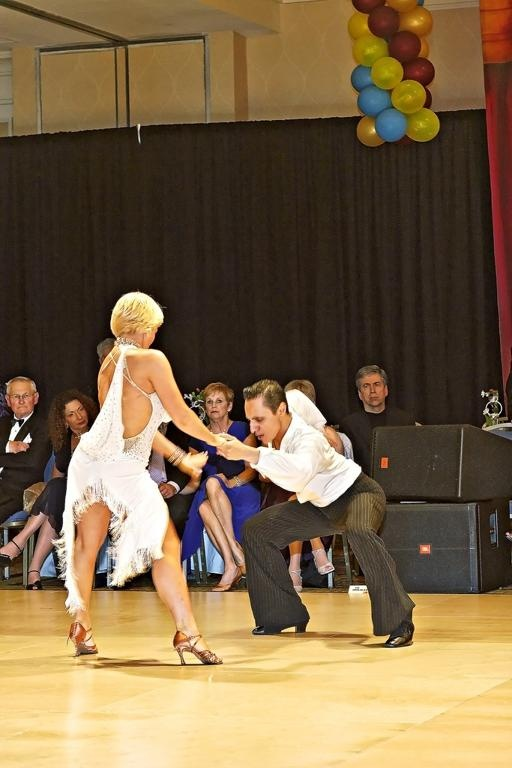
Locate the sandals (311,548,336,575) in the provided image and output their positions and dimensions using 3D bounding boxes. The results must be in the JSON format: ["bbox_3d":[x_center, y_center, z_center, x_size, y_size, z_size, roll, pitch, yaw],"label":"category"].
[{"bbox_3d":[0.436,1.189,4.674,0.091,0.097,0.259,-16,-8,-11],"label":"sandals"}]

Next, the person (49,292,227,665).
[{"bbox_3d":[-0.479,0.347,2.772,0.704,1.420,0.324,-3,0,14],"label":"person"}]

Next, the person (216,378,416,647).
[{"bbox_3d":[0.238,0.594,3.169,0.743,1.205,0.697,-3,0,-3],"label":"person"}]

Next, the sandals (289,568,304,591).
[{"bbox_3d":[0.267,1.277,4.589,0.135,0.136,0.385,0,-11,2],"label":"sandals"}]

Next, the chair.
[{"bbox_3d":[-0.580,0.915,5.636,2.421,1.209,1.104,-2,5,-1],"label":"chair"}]

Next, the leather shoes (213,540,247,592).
[{"bbox_3d":[-0.163,1.247,4.808,0.128,0.165,0.409,-13,-8,9],"label":"leather shoes"}]

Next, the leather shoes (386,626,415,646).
[{"bbox_3d":[0.588,1.034,2.879,0.054,0.060,0.150,-7,-15,27],"label":"leather shoes"}]

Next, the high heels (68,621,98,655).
[{"bbox_3d":[-0.697,1.040,2.893,0.071,0.099,0.200,4,-1,4],"label":"high heels"}]

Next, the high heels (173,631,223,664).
[{"bbox_3d":[-0.220,0.981,2.632,0.173,0.132,0.129,-3,0,-5],"label":"high heels"}]
